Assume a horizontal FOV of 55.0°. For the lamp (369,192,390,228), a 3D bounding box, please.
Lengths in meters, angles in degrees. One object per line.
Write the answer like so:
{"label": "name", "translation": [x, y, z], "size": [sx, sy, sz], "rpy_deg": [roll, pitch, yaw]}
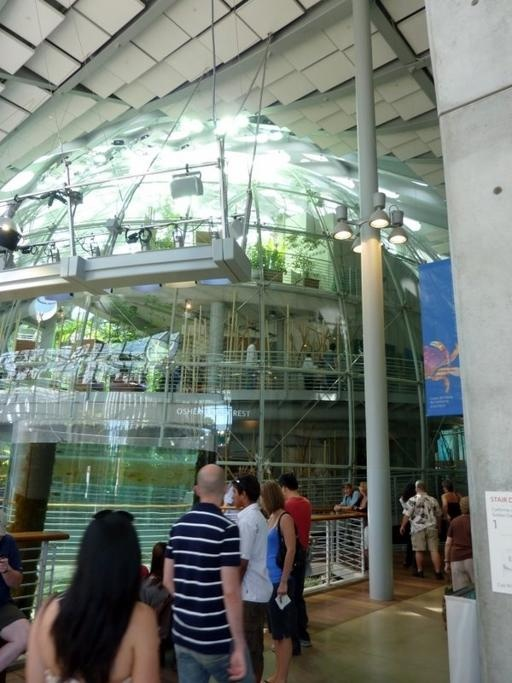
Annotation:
{"label": "lamp", "translation": [1.790, -1.900, 7.219], "size": [0.293, 0.573, 0.613], "rpy_deg": [-5, -14, 14]}

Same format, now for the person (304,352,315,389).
{"label": "person", "translation": [1.414, 0.771, 13.113], "size": [0.340, 0.958, 0.097], "rpy_deg": [9, -18, -32]}

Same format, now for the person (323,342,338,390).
{"label": "person", "translation": [2.051, 0.606, 13.412], "size": [0.409, 1.308, 0.129], "rpy_deg": [7, -17, -27]}
